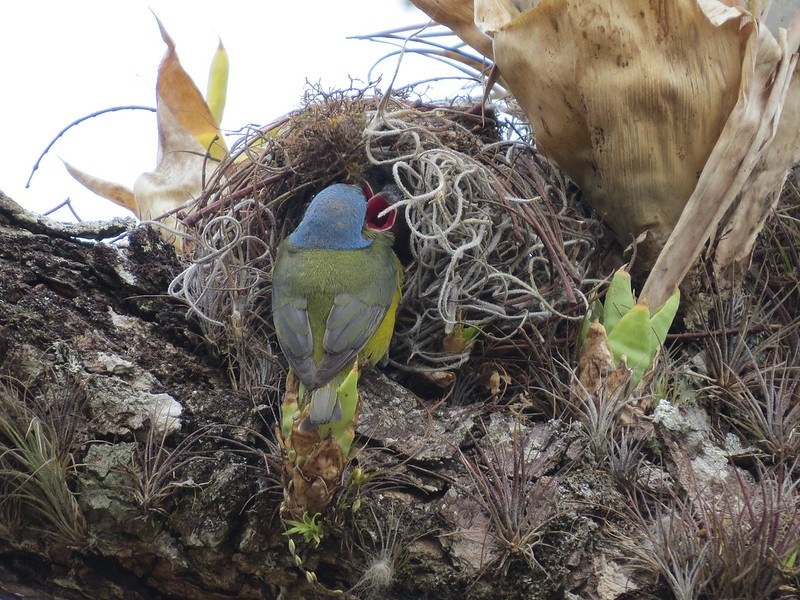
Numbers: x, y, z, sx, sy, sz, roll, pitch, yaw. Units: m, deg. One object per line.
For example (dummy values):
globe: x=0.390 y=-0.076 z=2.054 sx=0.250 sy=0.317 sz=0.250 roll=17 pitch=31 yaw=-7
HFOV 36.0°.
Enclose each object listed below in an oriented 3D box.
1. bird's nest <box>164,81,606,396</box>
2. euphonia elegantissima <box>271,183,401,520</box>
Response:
bird's nest: x=0.002 y=-0.298 z=4.508 sx=1.257 sy=1.388 sz=0.509 roll=4 pitch=-4 yaw=-13
euphonia elegantissima: x=-0.274 y=0.108 z=4.444 sx=0.373 sy=1.273 sz=0.545 roll=0 pitch=-34 yaw=12
